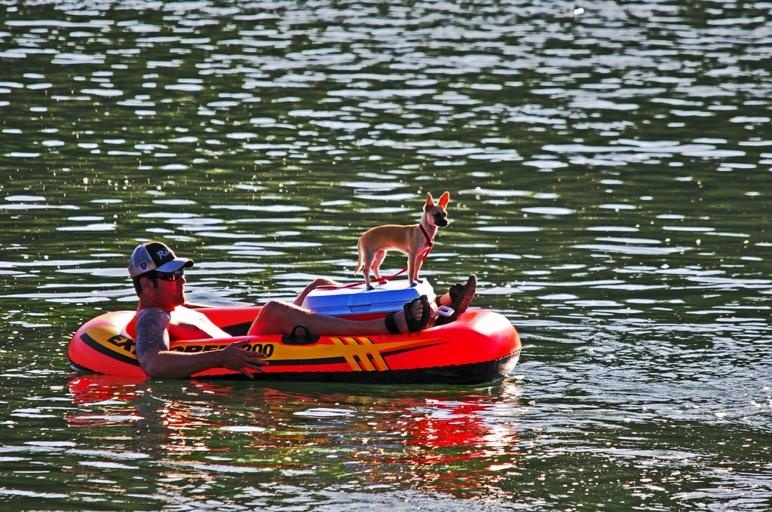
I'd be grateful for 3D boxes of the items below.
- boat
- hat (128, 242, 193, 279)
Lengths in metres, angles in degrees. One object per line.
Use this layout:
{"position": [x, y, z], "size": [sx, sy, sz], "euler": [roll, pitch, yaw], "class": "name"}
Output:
{"position": [-1.280, 1.464, 25.875], "size": [6.314, 0.697, 2.494], "euler": [-2, 3, 8], "class": "boat"}
{"position": [-3.507, 0.042, 25.008], "size": [1.004, 0.344, 0.508], "euler": [-10, 5, 5], "class": "hat"}
